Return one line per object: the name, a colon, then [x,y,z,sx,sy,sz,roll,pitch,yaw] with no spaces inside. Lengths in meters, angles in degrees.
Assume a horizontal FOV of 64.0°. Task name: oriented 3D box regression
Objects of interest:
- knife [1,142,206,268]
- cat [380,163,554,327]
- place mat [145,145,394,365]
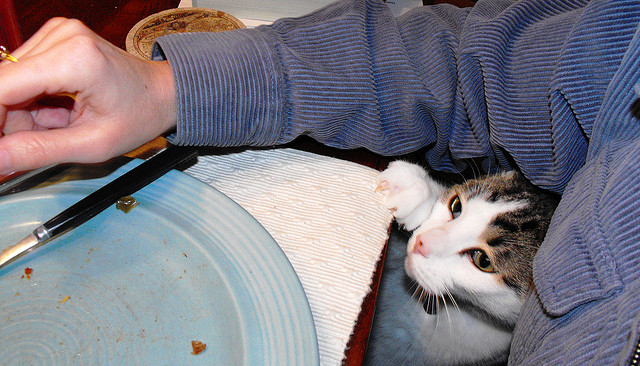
knife: [-0.302,0.038,0.697,0.267,0.028,0.029,-36,87,-32]
cat: [0.217,0.082,0.743,0.242,0.139,0.205,-5,37,9]
place mat: [-0.011,0.046,0.759,0.245,0.175,0.333,-32,41,-25]
